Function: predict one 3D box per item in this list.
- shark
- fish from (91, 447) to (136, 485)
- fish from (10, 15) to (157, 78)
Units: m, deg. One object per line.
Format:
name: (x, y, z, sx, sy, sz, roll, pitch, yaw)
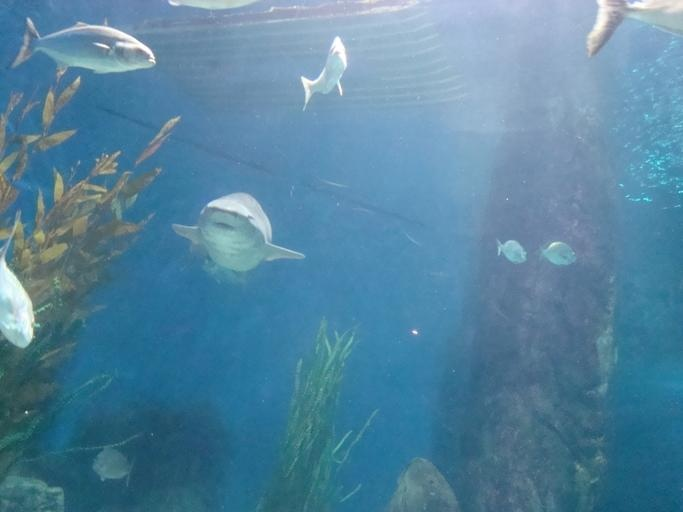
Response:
shark: (-1.977, -0.508, 12.585, 2.339, 1.707, 3.530, 9, -24, 1)
fish: (-3.624, 3.330, 9.959, 0.604, 0.452, 0.201, 21, -35, -12)
fish: (-3.661, -3.058, 9.159, 2.072, 0.679, 0.483, 7, -34, 8)
